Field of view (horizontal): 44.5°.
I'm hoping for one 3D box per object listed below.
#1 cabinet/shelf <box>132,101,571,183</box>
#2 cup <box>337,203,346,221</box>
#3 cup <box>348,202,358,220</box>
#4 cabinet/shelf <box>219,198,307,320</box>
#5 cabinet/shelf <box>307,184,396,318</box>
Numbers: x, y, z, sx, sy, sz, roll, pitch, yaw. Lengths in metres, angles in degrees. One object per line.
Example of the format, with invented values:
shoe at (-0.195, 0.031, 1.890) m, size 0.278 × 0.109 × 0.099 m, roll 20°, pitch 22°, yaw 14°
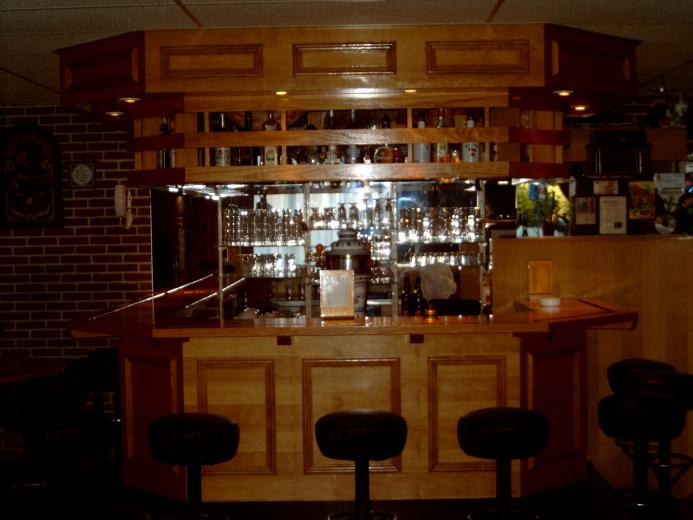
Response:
cabinet/shelf at (0.051, -0.976, 7.368) m, size 3.822 × 0.661 × 0.397 m, roll 0°, pitch 0°, yaw -1°
cup at (-0.037, -0.447, 8.074) m, size 0.071 × 0.176 × 0.154 m, roll 0°, pitch 0°, yaw 8°
cup at (0.078, -0.457, 8.101) m, size 0.094 × 0.174 × 0.161 m, roll 0°, pitch 0°, yaw -2°
cabinet/shelf at (-0.792, -0.063, 8.257) m, size 0.823 × 1.145 × 0.597 m, roll 0°, pitch 0°, yaw -4°
cabinet/shelf at (0.023, -0.104, 7.720) m, size 0.863 × 1.279 × 2.123 m, roll 0°, pitch 0°, yaw 6°
